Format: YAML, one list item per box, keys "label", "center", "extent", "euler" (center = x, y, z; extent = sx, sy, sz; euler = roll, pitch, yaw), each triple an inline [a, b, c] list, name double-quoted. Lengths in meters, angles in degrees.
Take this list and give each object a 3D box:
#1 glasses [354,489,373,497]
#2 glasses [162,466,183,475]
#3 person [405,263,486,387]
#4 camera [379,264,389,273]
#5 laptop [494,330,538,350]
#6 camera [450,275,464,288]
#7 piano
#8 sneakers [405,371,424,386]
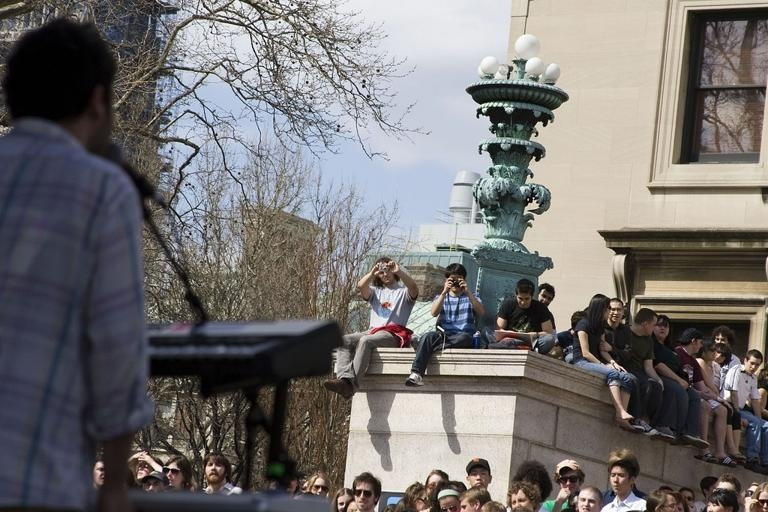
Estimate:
- label: "glasses"
  center: [-0.319, 3.260, 25.298]
  extent: [0.131, 0.110, 0.317]
  euler: [9, -8, -37]
- label: "glasses"
  center: [-2.815, 2.916, 25.156]
  extent: [0.177, 0.049, 0.177]
  euler: [-3, -20, 29]
- label: "person"
  center: [0.881, 1.019, 28.047]
  extent: [1.007, 1.957, 0.853]
  euler: [-1, 0, -10]
- label: "camera"
  center: [0.003, 0.180, 27.836]
  extent: [0.137, 0.118, 0.044]
  euler: [3, -7, 5]
- label: "laptop"
  center: [1.949, 1.242, 27.838]
  extent: [0.489, 0.292, 0.322]
  euler: [2, 37, 1]
- label: "camera"
  center: [1.086, 0.396, 27.988]
  extent: [0.237, 0.144, 0.092]
  euler: [1, -3, 6]
- label: "piano"
  center: [-1.319, 0.944, 18.502]
  extent: [2.166, 0.907, 0.426]
  euler: [0, -4, 14]
- label: "sneakers"
  center: [0.448, 1.857, 27.681]
  extent: [0.262, 0.199, 0.475]
  euler: [4, -6, 0]
